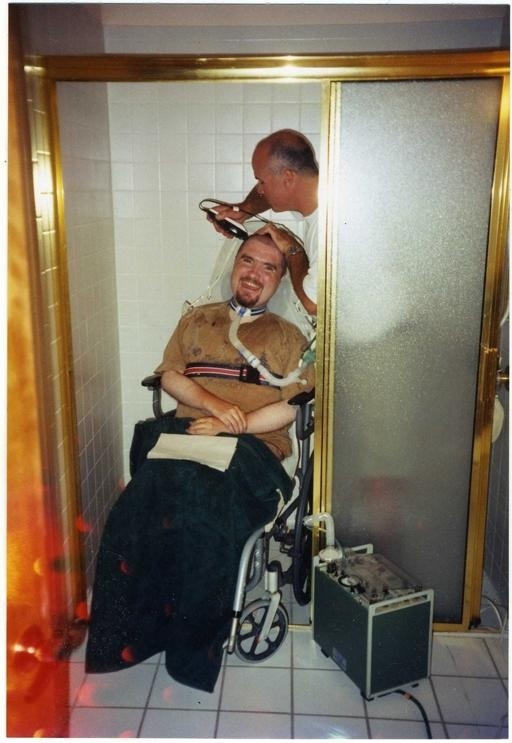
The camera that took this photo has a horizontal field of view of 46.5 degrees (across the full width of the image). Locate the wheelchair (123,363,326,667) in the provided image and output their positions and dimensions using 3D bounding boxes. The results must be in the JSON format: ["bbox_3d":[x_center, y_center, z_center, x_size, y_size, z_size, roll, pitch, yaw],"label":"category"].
[{"bbox_3d":[-0.106,0.619,2.400,0.658,0.867,0.523,6,-18,18],"label":"wheelchair"}]

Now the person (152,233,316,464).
[{"bbox_3d":[-0.073,-0.116,2.167,0.620,0.944,0.427,9,8,12],"label":"person"}]
